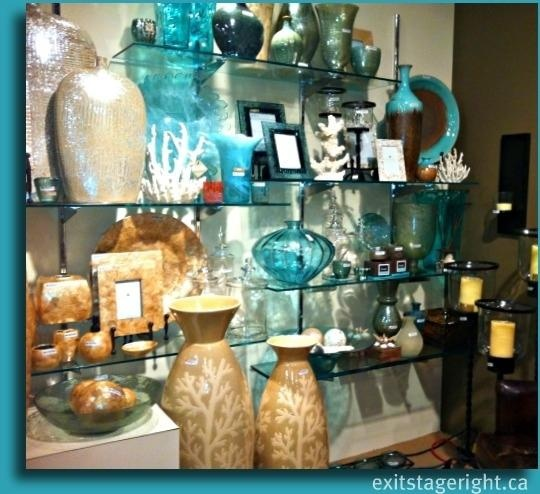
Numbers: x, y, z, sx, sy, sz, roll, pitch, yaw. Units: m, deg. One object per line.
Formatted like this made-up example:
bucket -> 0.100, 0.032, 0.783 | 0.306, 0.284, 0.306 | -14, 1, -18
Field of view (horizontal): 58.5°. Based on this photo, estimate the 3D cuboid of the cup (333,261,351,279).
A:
cup -> 0.301, 0.096, 2.026 | 0.068, 0.080, 0.067 | 2, -1, 0

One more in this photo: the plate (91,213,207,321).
plate -> -0.368, 0.055, 1.700 | 0.332, 0.368, 0.045 | -6, 7, -38

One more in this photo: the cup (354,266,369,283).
cup -> 0.398, 0.120, 2.094 | 0.052, 0.059, 0.101 | 0, 6, 12

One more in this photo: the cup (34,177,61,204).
cup -> -0.661, -0.166, 1.437 | 0.064, 0.069, 0.072 | 1, 0, 16

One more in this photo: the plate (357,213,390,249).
plate -> 0.476, -0.074, 2.211 | 0.141, 0.159, 0.040 | -1, -6, -9

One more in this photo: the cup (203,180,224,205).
cup -> -0.197, -0.190, 1.730 | 0.074, 0.091, 0.073 | 1, -1, 0
